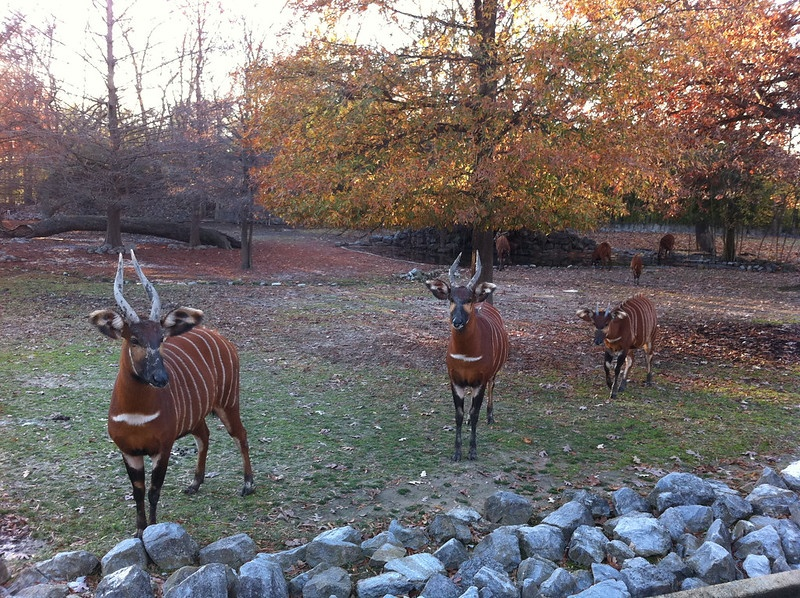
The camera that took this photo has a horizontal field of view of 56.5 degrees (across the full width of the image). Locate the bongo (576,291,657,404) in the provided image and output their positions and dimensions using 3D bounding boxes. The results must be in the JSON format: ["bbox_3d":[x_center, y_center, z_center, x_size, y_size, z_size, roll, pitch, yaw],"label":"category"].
[{"bbox_3d":[4.049,0.825,13.595,1.703,1.616,0.733,-11,18,-37],"label":"bongo"}]
